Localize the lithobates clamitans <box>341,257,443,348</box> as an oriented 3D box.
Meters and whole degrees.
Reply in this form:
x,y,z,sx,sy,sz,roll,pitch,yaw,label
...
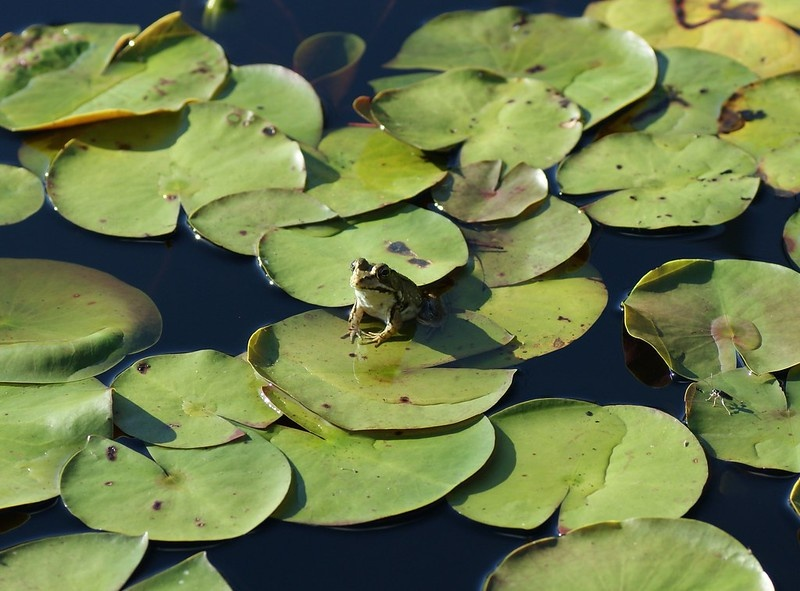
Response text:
x,y,z,sx,sy,sz,roll,pitch,yaw,label
-0.074,0.029,8.389,0.712,0.448,0.703,21,45,38,lithobates clamitans

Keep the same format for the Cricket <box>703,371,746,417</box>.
x,y,z,sx,sy,sz,roll,pitch,yaw,label
2.269,0.708,7.986,0.242,0.076,0.294,30,50,16,Cricket
